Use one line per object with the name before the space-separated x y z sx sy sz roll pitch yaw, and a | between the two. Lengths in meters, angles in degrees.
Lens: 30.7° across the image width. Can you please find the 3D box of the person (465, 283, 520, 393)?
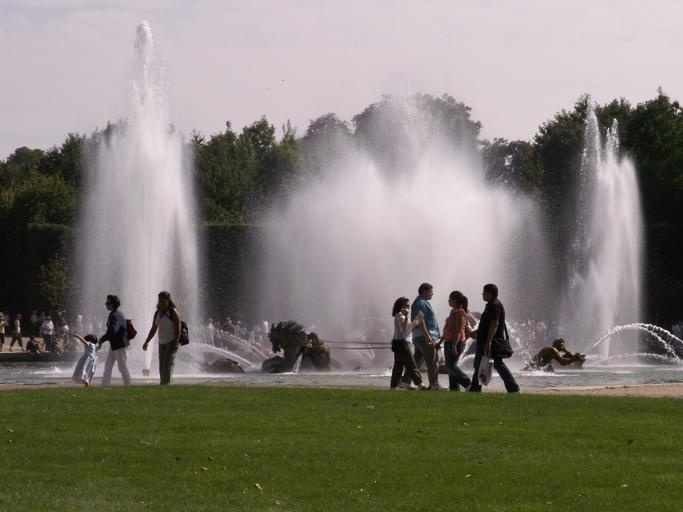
person | 2.723 1.451 22.154 0.828 1.925 1.105 0 2 8

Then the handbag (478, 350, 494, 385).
handbag | 2.531 1.985 21.804 0.219 0.565 0.320 1 2 37

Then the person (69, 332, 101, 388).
person | -5.710 2.324 27.735 0.593 1.179 1.195 3 -5 31

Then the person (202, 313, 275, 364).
person | -2.996 2.589 36.191 1.327 0.704 1.501 26 -3 -23

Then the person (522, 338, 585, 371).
person | 5.046 2.363 29.635 0.688 0.674 1.544 1 2 45

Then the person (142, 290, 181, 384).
person | -3.279 1.481 22.826 0.679 1.683 0.945 0 2 -9
